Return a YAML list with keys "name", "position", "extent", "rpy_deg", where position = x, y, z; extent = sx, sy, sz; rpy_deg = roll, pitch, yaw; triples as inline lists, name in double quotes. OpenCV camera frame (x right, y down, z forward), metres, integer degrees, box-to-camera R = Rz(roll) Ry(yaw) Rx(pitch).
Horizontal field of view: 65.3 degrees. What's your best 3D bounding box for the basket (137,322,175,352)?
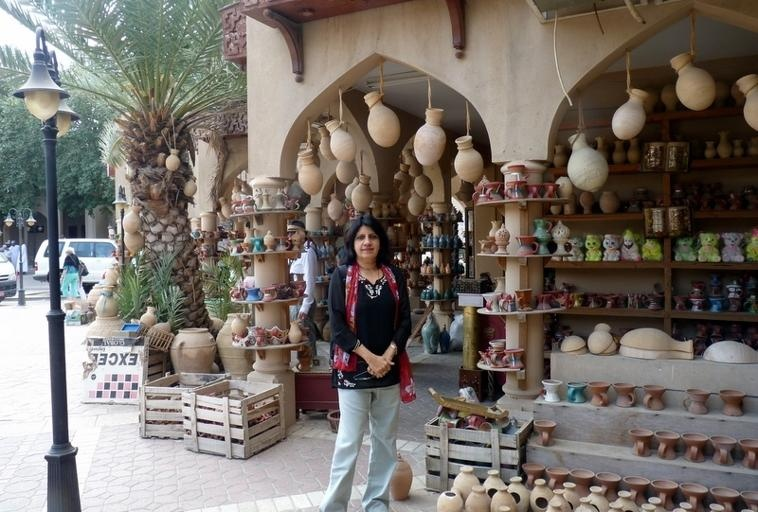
- name: "basket"
  position: [-2.902, 1.075, 7.578]
  extent: [0.352, 0.402, 0.488]
  rpy_deg: [1, 0, 15]
